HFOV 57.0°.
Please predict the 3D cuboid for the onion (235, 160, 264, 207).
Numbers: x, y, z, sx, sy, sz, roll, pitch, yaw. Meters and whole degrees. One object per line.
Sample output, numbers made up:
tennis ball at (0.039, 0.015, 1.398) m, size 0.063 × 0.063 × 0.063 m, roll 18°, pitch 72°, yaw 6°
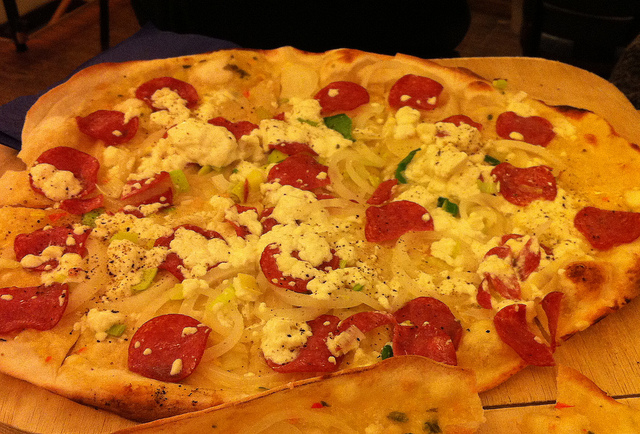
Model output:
onion at (-0.435, -0.225, 3.863) m, size 0.079 × 0.245 × 0.243 m, roll -11°, pitch 75°, yaw -3°
